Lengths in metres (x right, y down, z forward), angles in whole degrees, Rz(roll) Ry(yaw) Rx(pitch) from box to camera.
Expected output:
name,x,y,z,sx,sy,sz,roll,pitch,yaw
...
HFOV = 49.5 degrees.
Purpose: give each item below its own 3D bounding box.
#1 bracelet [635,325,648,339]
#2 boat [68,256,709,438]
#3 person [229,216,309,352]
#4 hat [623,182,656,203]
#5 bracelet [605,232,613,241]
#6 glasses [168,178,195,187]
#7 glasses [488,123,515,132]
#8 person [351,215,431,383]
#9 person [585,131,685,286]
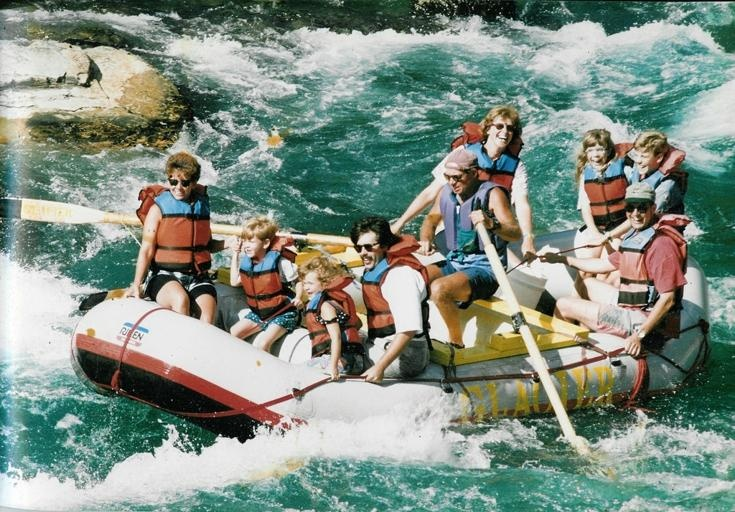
name,x,y,z,sx,sy,sz,roll,pitch,yaw
bracelet,2.581,0.723,7.581,0.102,0.133,0.132,2,-3,12
boat,0.236,1.025,7.406,4.212,0.720,2.049,-4,9,-20
person,-0.973,0.339,7.510,0.834,1.324,0.740,-6,14,-15
hat,2.562,-0.612,7.505,0.270,0.193,0.154,2,21,6
bracelet,2.529,-0.219,8.348,0.073,0.047,0.067,-1,-10,-3
glasses,-1.747,-0.703,7.454,0.233,0.087,0.097,-4,20,-12
glasses,1.335,-1.278,7.865,0.220,0.079,0.050,3,21,9
person,0.208,0.422,6.993,1.030,1.422,1.233,0,19,4
person,2.735,-0.472,8.151,1.044,1.332,0.863,-26,45,-10
